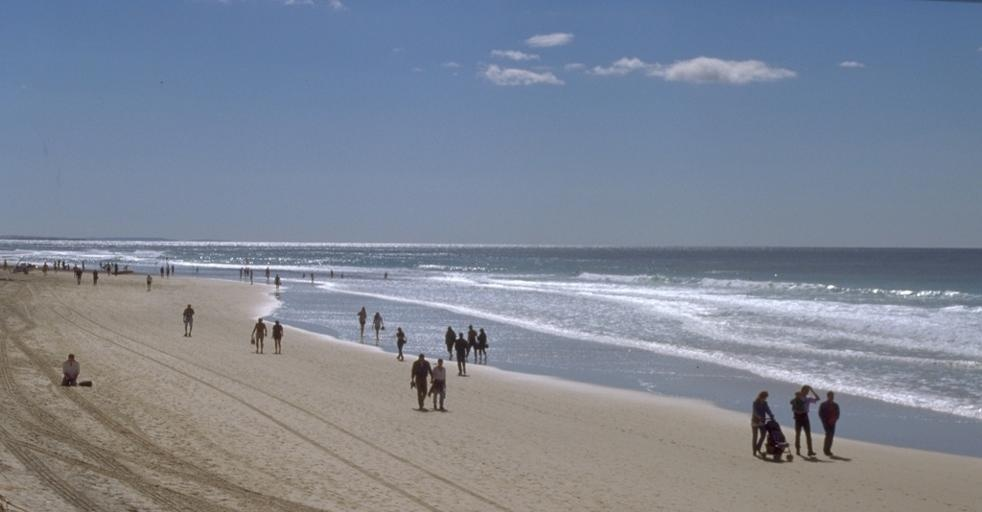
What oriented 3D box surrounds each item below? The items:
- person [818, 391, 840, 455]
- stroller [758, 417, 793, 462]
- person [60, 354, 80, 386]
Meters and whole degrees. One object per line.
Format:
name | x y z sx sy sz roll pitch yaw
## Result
person | 16.066 8.000 43.392 0.836 3.219 0.939 10 18 28
stroller | 13.436 8.776 43.057 1.425 1.914 0.867 6 16 20
person | -20.465 5.544 44.309 0.765 1.534 1.056 -5 16 -22
